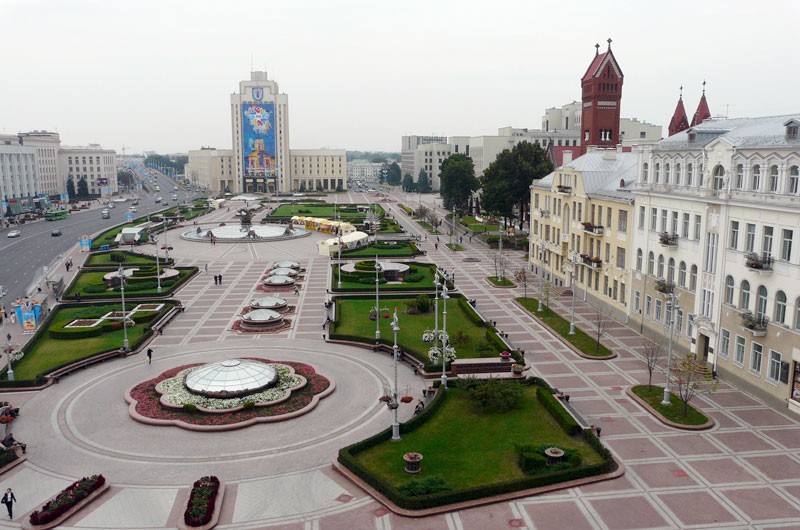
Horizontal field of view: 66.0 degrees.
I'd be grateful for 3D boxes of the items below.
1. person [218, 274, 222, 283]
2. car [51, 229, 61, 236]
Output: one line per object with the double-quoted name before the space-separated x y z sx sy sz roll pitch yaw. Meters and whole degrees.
"person" -28.119 2.170 95.965 0.450 1.196 0.878 3 11 -5
"car" -78.281 -7.237 140.204 1.505 0.739 2.619 -3 17 -16
